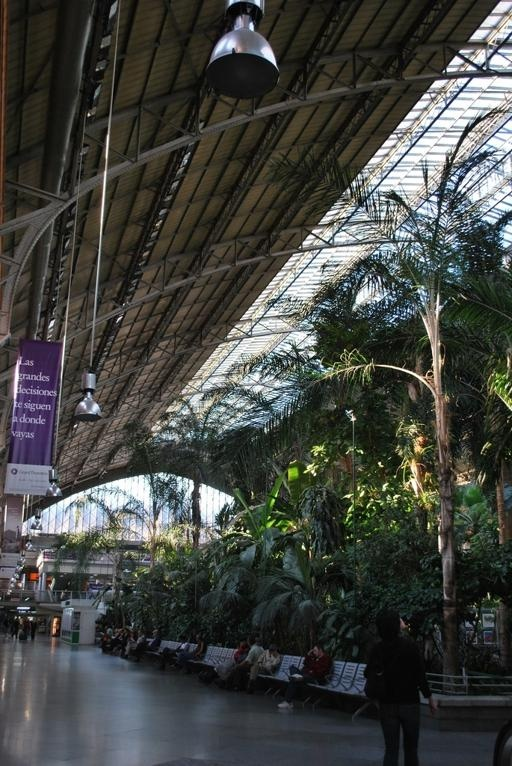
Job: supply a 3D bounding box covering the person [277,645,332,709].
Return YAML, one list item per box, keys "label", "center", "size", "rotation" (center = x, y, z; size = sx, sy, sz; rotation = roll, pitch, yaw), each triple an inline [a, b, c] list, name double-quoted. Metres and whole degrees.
- label: "person"
  center: [0.634, 3.690, 8.484]
  size: [0.666, 0.707, 0.908]
  rotation: [-1, -16, 5]

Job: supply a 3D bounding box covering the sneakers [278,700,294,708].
- label: "sneakers"
  center: [0.362, 3.910, 8.181]
  size: [0.094, 0.074, 0.182]
  rotation: [-20, -35, 40]
